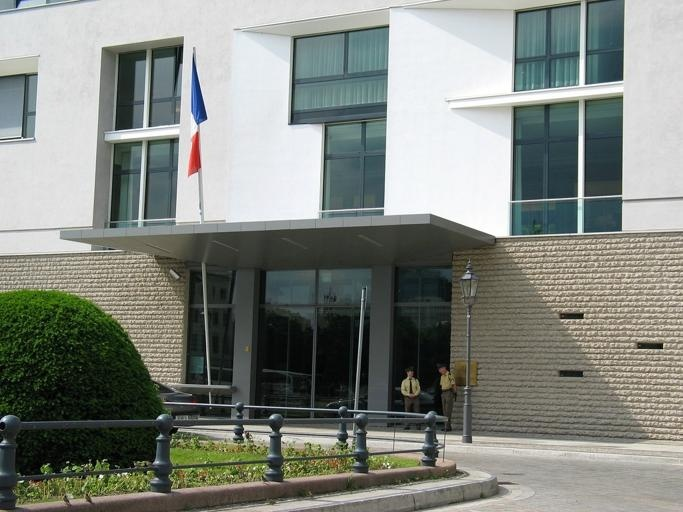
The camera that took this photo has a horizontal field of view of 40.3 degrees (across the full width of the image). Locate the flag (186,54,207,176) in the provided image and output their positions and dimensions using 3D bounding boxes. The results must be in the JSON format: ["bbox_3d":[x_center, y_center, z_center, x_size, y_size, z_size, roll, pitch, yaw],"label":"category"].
[{"bbox_3d":[-4.482,-4.576,29.254,0.699,3.760,0.426,2,10,23],"label":"flag"}]

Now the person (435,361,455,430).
[{"bbox_3d":[3.085,4.089,26.751,0.443,1.865,1.449,-1,-7,6],"label":"person"}]

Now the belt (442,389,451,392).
[{"bbox_3d":[3.010,3.843,26.527,0.256,0.076,0.081,-7,-10,39],"label":"belt"}]

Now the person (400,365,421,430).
[{"bbox_3d":[2.052,4.178,27.290,0.576,1.751,1.454,-1,-7,4],"label":"person"}]
